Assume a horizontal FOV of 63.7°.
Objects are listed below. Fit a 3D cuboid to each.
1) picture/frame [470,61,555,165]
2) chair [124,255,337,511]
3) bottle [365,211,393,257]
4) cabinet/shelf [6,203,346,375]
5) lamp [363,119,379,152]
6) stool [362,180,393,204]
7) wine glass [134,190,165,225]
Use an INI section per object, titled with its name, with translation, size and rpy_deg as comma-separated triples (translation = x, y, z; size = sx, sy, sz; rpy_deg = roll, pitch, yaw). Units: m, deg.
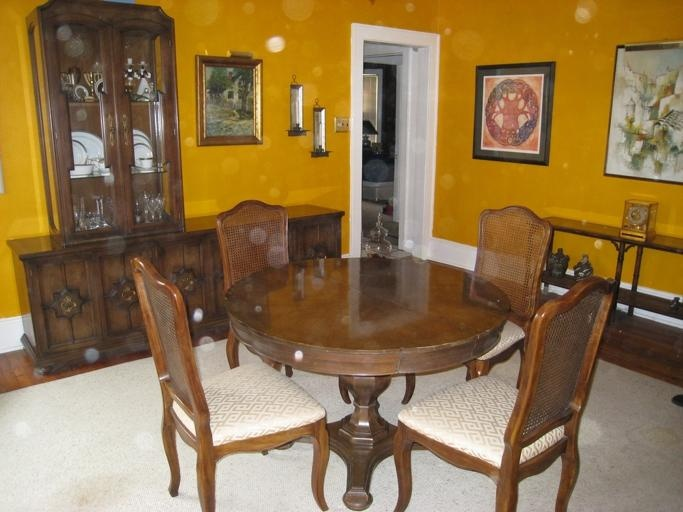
[picture/frame]
translation = 1.734, -1.438, 5.448
size = 0.041, 1.165, 0.932
rpy_deg = -9, 16, -39
[chair]
translation = -0.583, 0.723, 2.938
size = 0.847, 1.498, 0.765
rpy_deg = -10, 22, -31
[bottle]
translation = 0.478, -0.249, 6.711
size = 0.247, 0.498, 0.657
rpy_deg = -3, 17, -12
[cabinet/shelf]
translation = -1.209, 0.088, 4.617
size = 2.542, 1.091, 0.667
rpy_deg = -10, 35, -30
[lamp]
translation = 0.535, -2.186, 9.922
size = 0.260, 0.526, 0.542
rpy_deg = -1, 15, -1
[stool]
translation = 0.648, -1.084, 9.615
size = 0.424, 0.317, 0.421
rpy_deg = -4, 6, -42
[wine glass]
translation = -1.436, -0.361, 4.109
size = 0.204, 0.246, 0.203
rpy_deg = 2, 1, -35
